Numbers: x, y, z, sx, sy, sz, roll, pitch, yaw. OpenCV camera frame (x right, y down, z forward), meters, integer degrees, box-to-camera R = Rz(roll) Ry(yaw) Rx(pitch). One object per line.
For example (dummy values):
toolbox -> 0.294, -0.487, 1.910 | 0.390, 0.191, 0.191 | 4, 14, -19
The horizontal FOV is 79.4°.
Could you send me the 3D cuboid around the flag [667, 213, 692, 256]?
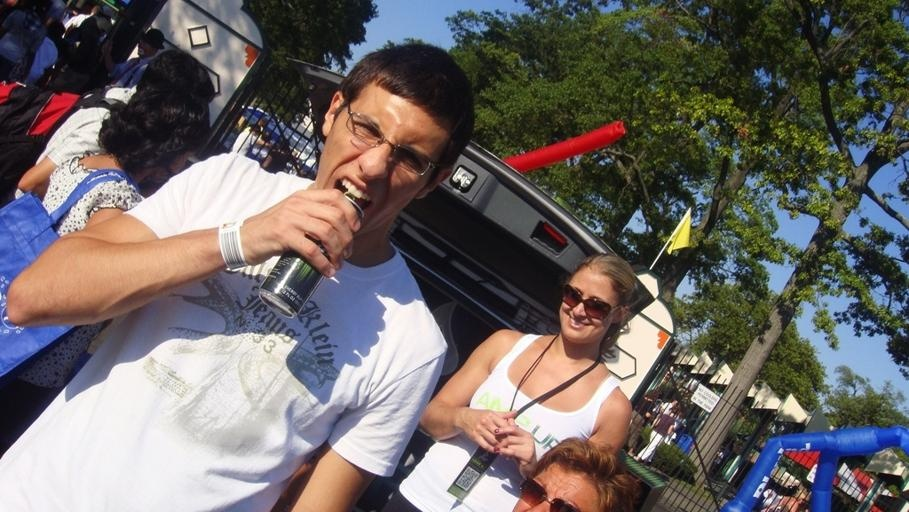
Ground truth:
flag -> 4.968, -0.604, 12.125 | 0.411, 1.370, 0.111 | 1, -49, 31
